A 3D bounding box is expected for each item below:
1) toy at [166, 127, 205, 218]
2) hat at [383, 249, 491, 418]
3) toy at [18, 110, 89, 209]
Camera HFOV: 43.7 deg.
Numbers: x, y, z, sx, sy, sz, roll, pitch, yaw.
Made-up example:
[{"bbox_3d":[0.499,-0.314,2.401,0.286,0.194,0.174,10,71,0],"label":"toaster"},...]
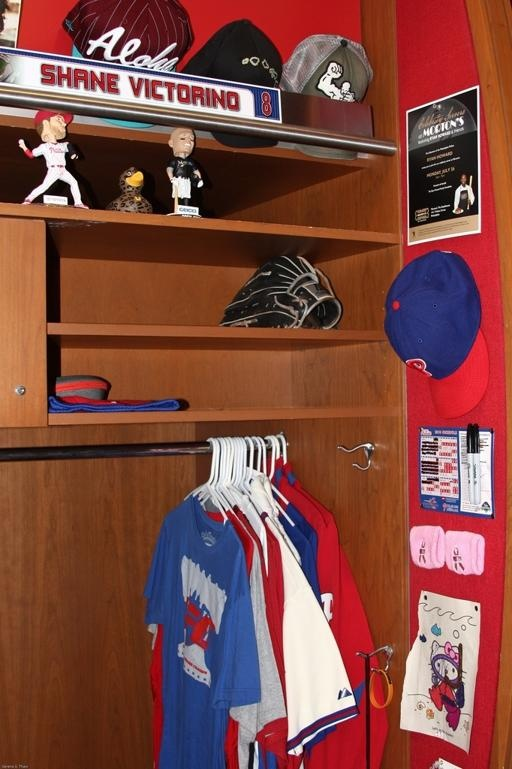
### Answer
[{"bbox_3d":[-0.147,-0.424,1.332,0.069,0.181,0.141,0,-3,-5],"label":"toy"},{"bbox_3d":[0.365,-0.105,1.317,0.063,0.344,0.253,1,-3,-26],"label":"hat"},{"bbox_3d":[-0.398,-0.404,1.242,0.117,0.180,0.211,1,-3,-22],"label":"toy"}]
